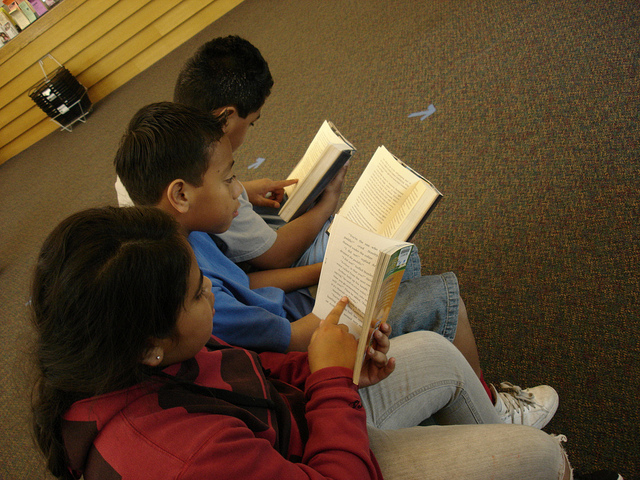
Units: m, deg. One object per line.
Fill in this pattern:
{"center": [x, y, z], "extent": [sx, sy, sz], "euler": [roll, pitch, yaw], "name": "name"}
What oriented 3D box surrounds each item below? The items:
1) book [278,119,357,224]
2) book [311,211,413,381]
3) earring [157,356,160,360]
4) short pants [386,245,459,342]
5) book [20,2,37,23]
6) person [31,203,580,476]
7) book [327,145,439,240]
{"center": [-0.028, -0.215, 1.969], "extent": [0.101, 0.371, 0.348], "euler": [26, 20, -4], "name": "book"}
{"center": [0.158, 0.168, 1.575], "extent": [0.317, 0.441, 0.148], "euler": [27, 26, 37], "name": "book"}
{"center": [-0.381, 0.282, 1.276], "extent": [0.006, 0.006, 0.001], "euler": [-26, 47, -8], "name": "earring"}
{"center": [0.334, 0.172, 1.690], "extent": [0.189, 0.249, 0.090], "euler": [11, -8, 45], "name": "short pants"}
{"center": [-2.059, -1.635, 3.805], "extent": [0.066, 0.130, 0.020], "euler": [-7, 29, -5], "name": "book"}
{"center": [-0.113, 0.300, 1.372], "extent": [1.166, 0.802, 0.490], "euler": [-7, 30, -5], "name": "person"}
{"center": [0.221, -0.132, 1.801], "extent": [0.118, 0.348, 0.310], "euler": [0, 32, -50], "name": "book"}
